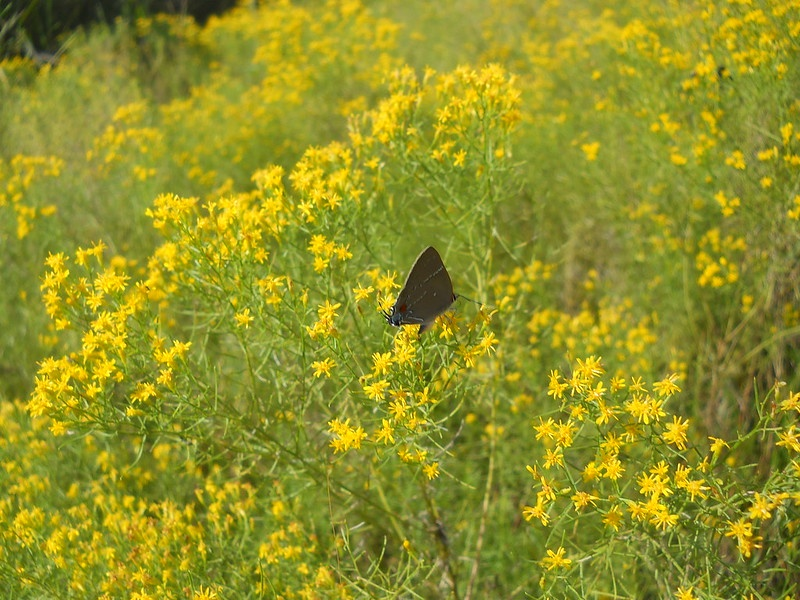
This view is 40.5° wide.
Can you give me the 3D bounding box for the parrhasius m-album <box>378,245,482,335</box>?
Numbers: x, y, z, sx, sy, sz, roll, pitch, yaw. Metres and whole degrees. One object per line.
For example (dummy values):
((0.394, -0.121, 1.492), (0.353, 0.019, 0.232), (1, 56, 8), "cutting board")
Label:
((0.138, 0.008, 5.347), (0.348, 0.351, 0.405), (2, -9, -6), "parrhasius m-album")
